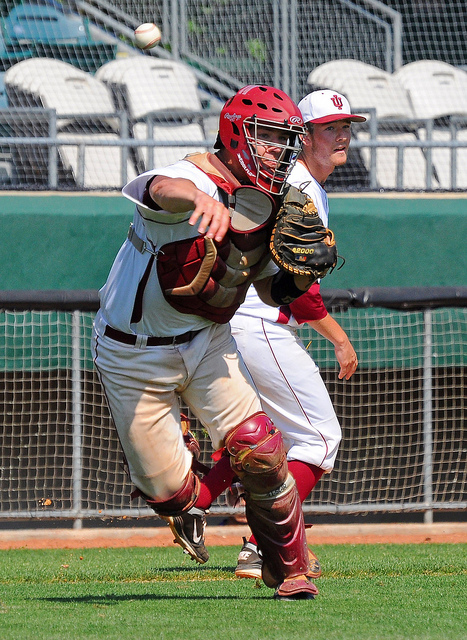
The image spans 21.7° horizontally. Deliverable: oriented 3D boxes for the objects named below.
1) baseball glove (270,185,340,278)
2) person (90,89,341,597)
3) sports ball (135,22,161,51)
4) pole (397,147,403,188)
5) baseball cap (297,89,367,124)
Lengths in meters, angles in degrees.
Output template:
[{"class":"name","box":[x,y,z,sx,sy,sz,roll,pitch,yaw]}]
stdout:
[{"class":"baseball glove","box":[0.241,-0.305,4.346,0.248,0.307,0.112,8,-13,-44]},{"class":"person","box":[-0.081,0.107,4.448,0.680,1.854,0.708,0,7,44]},{"class":"sports ball","box":[-0.587,-1.913,8.176,0.159,0.212,0.371,-6,5,-3]},{"class":"pole","box":[1.128,-1.050,8.389,0.054,0.264,0.169,-5,5,8]},{"class":"baseball cap","box":[0.413,-0.910,5.249,0.184,0.142,0.278,0,-1,-39]}]
